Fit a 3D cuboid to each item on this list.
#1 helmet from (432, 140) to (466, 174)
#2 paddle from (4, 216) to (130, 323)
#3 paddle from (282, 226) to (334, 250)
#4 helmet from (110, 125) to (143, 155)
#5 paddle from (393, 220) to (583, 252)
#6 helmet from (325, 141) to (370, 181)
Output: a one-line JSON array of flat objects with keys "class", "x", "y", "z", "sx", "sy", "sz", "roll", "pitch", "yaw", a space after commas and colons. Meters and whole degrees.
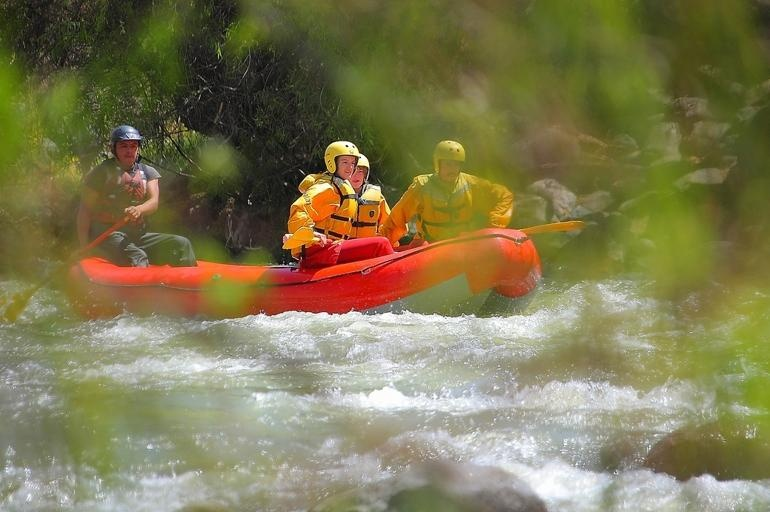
[{"class": "helmet", "x": 0.905, "y": -1.356, "z": 12.147, "sx": 0.413, "sy": 0.469, "sz": 0.515, "roll": 5, "pitch": 14, "yaw": -10}, {"class": "paddle", "x": -4.449, "y": 0.224, "z": 12.235, "sx": 2.291, "sy": 0.335, "sz": 0.174, "roll": -38, "pitch": 28, "yaw": -20}, {"class": "paddle", "x": -0.989, "y": -0.212, "z": 11.236, "sx": 0.315, "sy": 0.123, "sz": 0.390, "roll": -21, "pitch": -29, "yaw": 35}, {"class": "helmet", "x": -3.592, "y": -1.625, "z": 12.137, "sx": 0.338, "sy": 0.348, "sz": 0.449, "roll": -5, "pitch": 19, "yaw": -21}, {"class": "paddle", "x": 1.461, "y": -0.276, "z": 12.148, "sx": 1.955, "sy": 0.136, "sz": 0.213, "roll": -9, "pitch": 54, "yaw": 1}, {"class": "helmet", "x": -0.598, "y": -1.337, "z": 11.698, "sx": 0.501, "sy": 0.388, "sz": 0.366, "roll": 5, "pitch": 5, "yaw": 43}]
